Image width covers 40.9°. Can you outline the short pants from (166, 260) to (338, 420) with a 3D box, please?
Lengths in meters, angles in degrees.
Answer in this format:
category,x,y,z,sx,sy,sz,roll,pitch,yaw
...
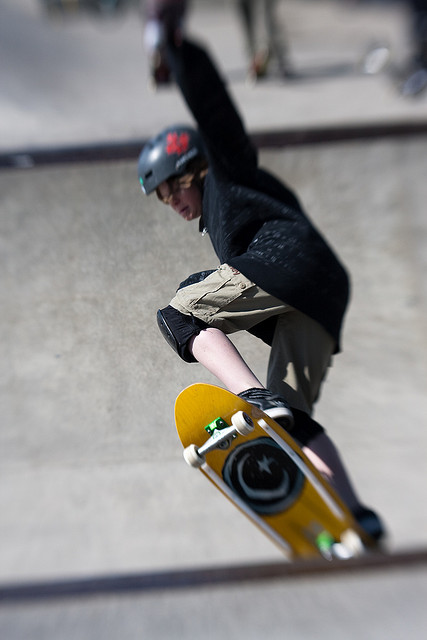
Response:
category,x,y,z,sx,sy,sz,roll,pitch,yaw
short pants,0.165,0.022,2.016,0.486,0.585,0.670,6,33,11

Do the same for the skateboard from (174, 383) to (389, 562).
category,x,y,z,sx,sy,sz,roll,pitch,yaw
skateboard,0.164,0.474,1.701,0.243,0.484,0.674,-41,70,-13
